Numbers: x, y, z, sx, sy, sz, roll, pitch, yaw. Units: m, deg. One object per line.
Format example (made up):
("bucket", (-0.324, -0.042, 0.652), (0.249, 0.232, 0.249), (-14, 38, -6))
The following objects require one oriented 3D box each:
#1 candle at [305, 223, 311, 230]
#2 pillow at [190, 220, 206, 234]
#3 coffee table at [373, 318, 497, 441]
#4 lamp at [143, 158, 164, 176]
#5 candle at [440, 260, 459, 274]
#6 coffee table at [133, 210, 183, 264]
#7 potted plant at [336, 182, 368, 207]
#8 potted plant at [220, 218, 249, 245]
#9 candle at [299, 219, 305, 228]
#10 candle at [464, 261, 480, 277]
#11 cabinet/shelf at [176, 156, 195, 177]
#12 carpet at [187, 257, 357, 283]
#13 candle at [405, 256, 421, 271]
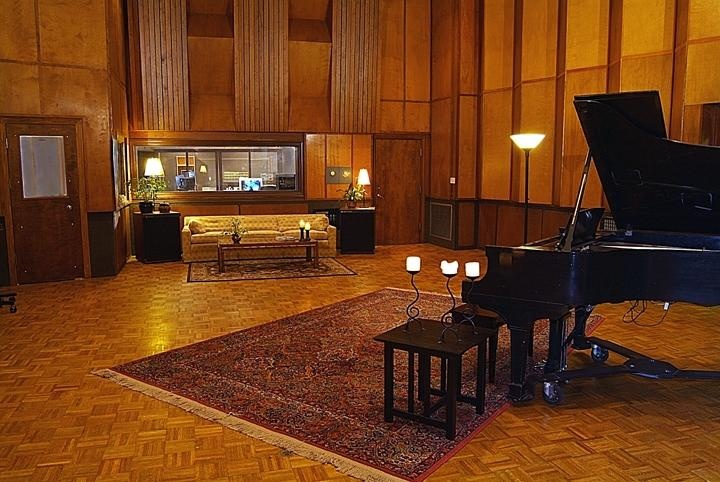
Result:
("candle", (-1.058, -0.283, 10.210), (0.134, 0.126, 0.128), (-1, -3, 20))
("pillow", (-3.348, -0.273, 10.714), (0.289, 0.267, 0.143), (-5, -17, -42))
("coffee table", (0.607, 1.173, 4.801), (1.031, 0.926, 0.971), (3, 8, 28))
("lamp", (-4.395, -1.537, 11.046), (0.299, 0.417, 0.809), (-6, 14, -22))
("candle", (0.780, 0.251, 4.644), (0.131, 0.138, 0.227), (1, 13, 5))
("coffee table", (-4.068, -0.158, 10.908), (1.339, 1.151, 0.996), (-2, 16, -21))
("potted plant", (-0.153, -1.048, 12.175), (0.677, 0.497, 0.618), (1, 1, -5))
("potted plant", (-2.597, -0.180, 10.300), (0.613, 0.676, 0.581), (2, 2, 7))
("candle", (-1.136, -0.338, 10.151), (0.150, 0.145, 0.146), (3, -3, -42))
("candle", (0.993, 0.265, 4.662), (0.150, 0.143, 0.156), (0, 5, -41))
("cabinet/shelf", (-3.974, -1.699, 11.769), (0.515, 0.530, 0.165), (-2, 7, -23))
("carpet", (-1.782, 0.548, 9.984), (2.904, 0.156, 1.829), (-3, 13, -14))
("candle", (0.445, 0.212, 4.540), (0.105, 0.142, 0.107), (4, 14, 15))
